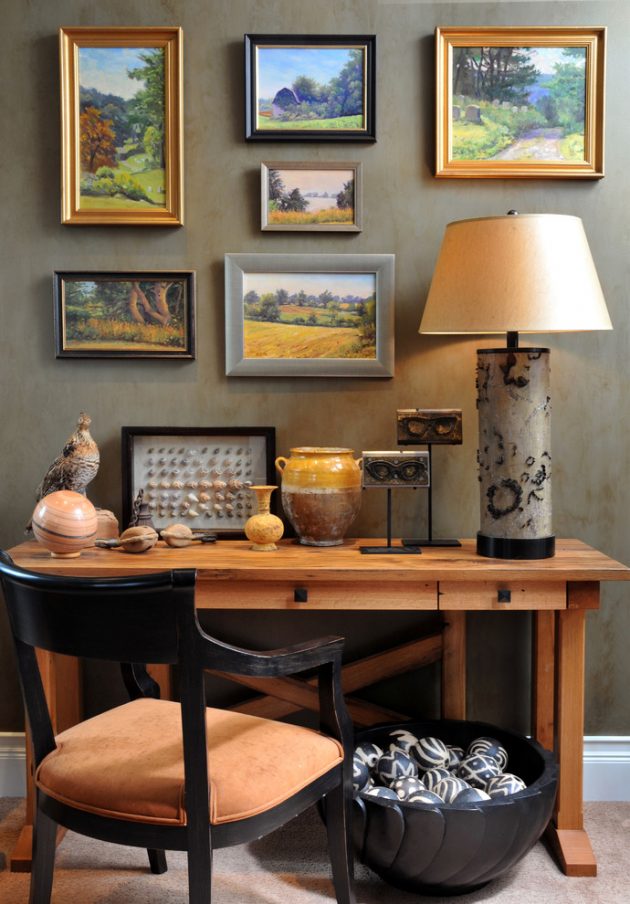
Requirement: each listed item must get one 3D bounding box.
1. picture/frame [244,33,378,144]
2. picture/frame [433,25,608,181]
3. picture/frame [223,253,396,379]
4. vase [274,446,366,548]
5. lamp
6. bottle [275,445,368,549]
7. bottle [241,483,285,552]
[{"bbox_3d":[-0.015,-1.001,2.377,0.300,0.216,0.023,0,5,1],"label":"picture/frame"},{"bbox_3d":[0.560,-0.963,2.378,0.422,0.351,0.048,0,2,-1],"label":"picture/frame"},{"bbox_3d":[-0.014,-0.391,2.423,0.350,0.242,0.014,1,5,1],"label":"picture/frame"},{"bbox_3d":[0.026,0.092,2.251,0.269,0.272,0.229,1,3,6],"label":"vase"},{"bbox_3d":[0.481,-0.166,2.129,0.442,0.816,0.262,0,12,6],"label":"lamp"},{"bbox_3d":[0.048,0.104,2.320,0.268,0.271,0.229,1,3,6],"label":"bottle"},{"bbox_3d":[-0.125,0.169,2.273,0.143,0.221,0.143,1,-5,0],"label":"bottle"}]
